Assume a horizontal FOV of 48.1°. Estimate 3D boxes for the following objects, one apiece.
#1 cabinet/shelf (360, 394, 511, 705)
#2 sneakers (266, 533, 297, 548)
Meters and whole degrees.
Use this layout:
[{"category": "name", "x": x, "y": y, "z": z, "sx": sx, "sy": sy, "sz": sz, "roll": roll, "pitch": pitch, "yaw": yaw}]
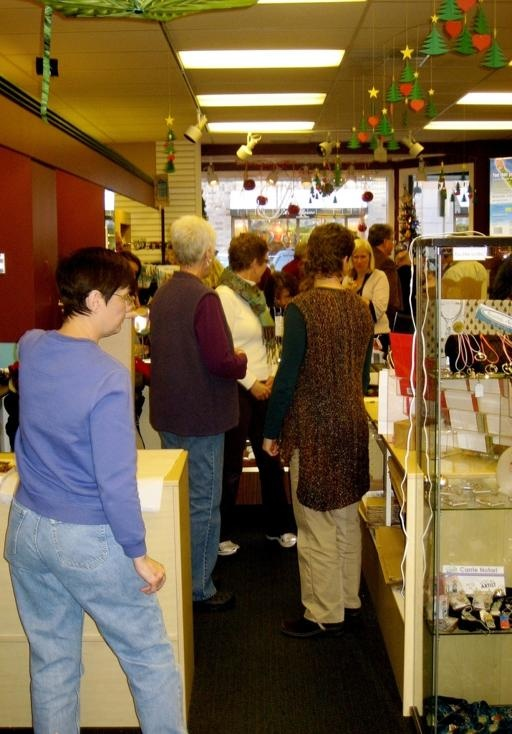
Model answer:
[{"category": "cabinet/shelf", "x": 0.572, "y": 0.588, "z": 1.802, "sx": 0.263, "sy": 0.568, "sz": 0.885, "roll": -2, "pitch": 18, "yaw": -3}, {"category": "sneakers", "x": 0.149, "y": 1.025, "z": 3.425, "sx": 0.158, "sy": 0.083, "sz": 0.125, "roll": 4, "pitch": 1, "yaw": 10}]
